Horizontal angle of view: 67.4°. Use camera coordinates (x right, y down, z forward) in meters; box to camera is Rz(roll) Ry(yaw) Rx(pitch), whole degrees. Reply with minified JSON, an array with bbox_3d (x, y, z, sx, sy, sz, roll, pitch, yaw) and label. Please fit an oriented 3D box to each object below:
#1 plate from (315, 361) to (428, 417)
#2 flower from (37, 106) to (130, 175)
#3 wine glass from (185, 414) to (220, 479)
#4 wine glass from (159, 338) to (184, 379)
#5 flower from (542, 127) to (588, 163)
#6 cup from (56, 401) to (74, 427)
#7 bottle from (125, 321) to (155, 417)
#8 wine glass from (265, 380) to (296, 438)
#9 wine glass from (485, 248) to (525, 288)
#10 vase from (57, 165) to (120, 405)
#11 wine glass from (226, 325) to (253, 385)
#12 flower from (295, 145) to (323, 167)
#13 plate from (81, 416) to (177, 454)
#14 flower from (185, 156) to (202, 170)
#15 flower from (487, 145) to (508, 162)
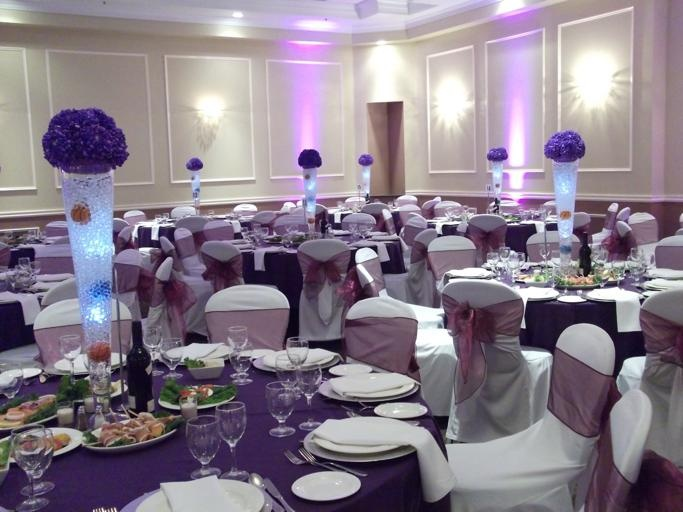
[{"bbox_3d":[0.096,0.495,1.938,0.359,0.049,0.235,3,12,21],"label":"plate"},{"bbox_3d":[-0.866,-0.372,1.734,0.251,0.201,0.215,-1,6,-45],"label":"flower"},{"bbox_3d":[-0.386,0.530,1.447,0.084,0.186,0.214,-4,11,-16],"label":"wine glass"},{"bbox_3d":[-0.705,0.411,2.133,0.080,0.190,0.213,-5,11,-20],"label":"wine glass"},{"bbox_3d":[1.518,-0.749,3.500,0.233,0.214,0.272,3,12,22],"label":"flower"},{"bbox_3d":[-0.941,0.546,1.751,0.057,0.073,0.057,3,11,-1],"label":"cup"},{"bbox_3d":[-0.707,0.372,1.785,0.087,0.330,0.120,-6,11,-24],"label":"bottle"},{"bbox_3d":[-0.197,0.479,1.711,0.086,0.185,0.242,-2,11,-5],"label":"wine glass"},{"bbox_3d":[1.125,0.057,3.585,0.223,0.342,0.262,1,4,-2],"label":"wine glass"},{"bbox_3d":[-0.837,0.062,1.723,0.164,0.689,0.175,-4,11,-14],"label":"vase"},{"bbox_3d":[-0.416,0.384,2.098,0.078,0.234,0.182,-4,11,-14],"label":"wine glass"},{"bbox_3d":[-0.330,-1.038,5.460,0.210,0.209,0.427,-1,11,1],"label":"flower"},{"bbox_3d":[-0.659,0.558,1.625,0.296,0.058,0.166,-6,12,-25],"label":"plate"},{"bbox_3d":[-2.337,-1.458,8.187,0.194,0.182,0.200,-3,11,-8],"label":"flower"},{"bbox_3d":[2.234,-1.452,7.338,0.234,0.181,0.272,4,12,25],"label":"flower"}]
